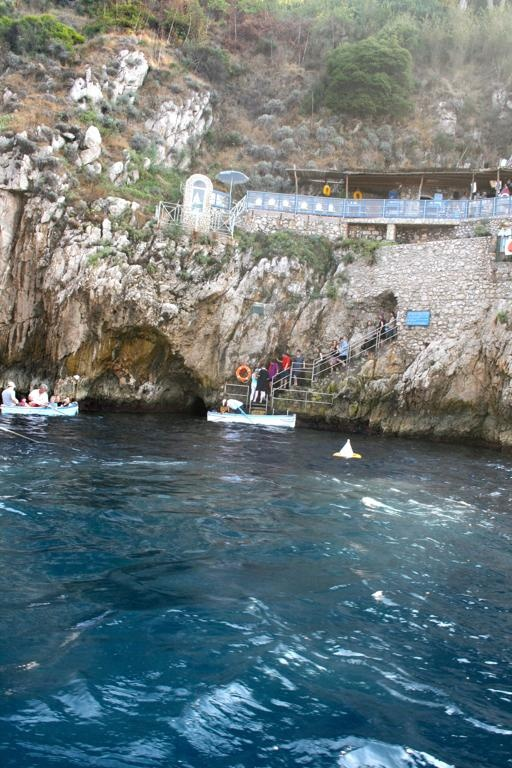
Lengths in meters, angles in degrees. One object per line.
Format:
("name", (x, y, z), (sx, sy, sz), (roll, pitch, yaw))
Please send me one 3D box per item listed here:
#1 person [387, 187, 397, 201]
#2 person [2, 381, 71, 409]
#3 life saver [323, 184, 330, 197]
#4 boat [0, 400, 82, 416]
("person", (6.516, -9.173, 30.321), (0.423, 0.467, 0.784), (3, 1, -31))
("person", (-7.070, 0.436, 20.111), (1.700, 0.681, 1.069), (7, -1, -18))
("life saver", (3.428, -9.518, 30.763), (0.415, 0.541, 0.269), (4, 2, 37))
("boat", (-6.836, 0.820, 20.018), (2.285, 0.493, 0.656), (-2, 9, -26))
